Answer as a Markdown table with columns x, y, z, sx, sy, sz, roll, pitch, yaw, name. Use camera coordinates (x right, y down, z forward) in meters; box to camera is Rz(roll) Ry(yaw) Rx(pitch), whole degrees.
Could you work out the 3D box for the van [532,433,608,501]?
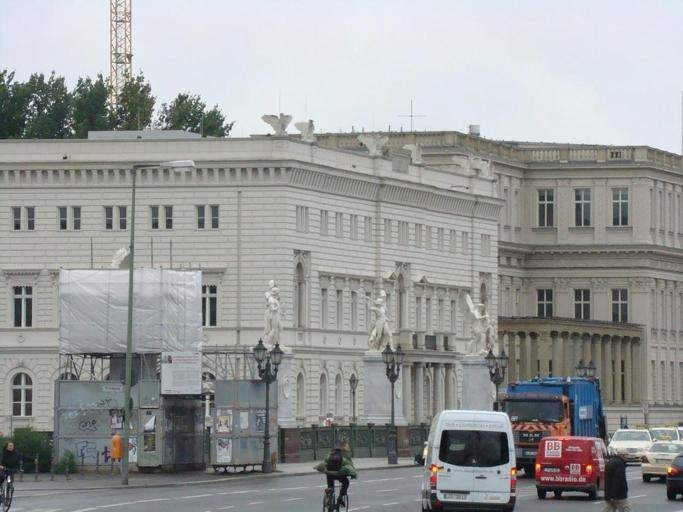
| x | y | z | sx | sy | sz | roll | pitch | yaw | name |
| --- | --- | --- | --- | --- | --- | --- | --- | --- | --- |
| 10.074 | 8.805 | 93.423 | 1.969 | 1.783 | 3.292 | 0 | 0 | 16 | van |
